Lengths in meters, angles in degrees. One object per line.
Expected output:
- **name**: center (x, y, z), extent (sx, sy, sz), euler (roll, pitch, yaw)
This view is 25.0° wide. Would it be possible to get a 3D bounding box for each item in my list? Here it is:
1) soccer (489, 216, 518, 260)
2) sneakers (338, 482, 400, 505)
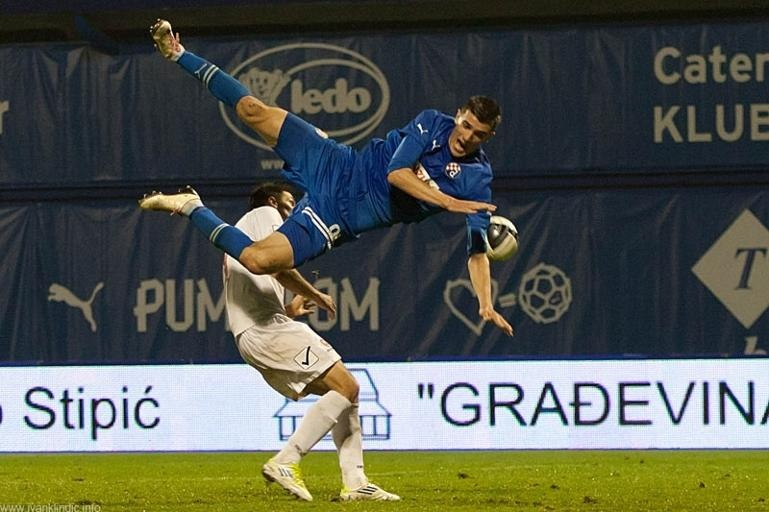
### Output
- **soccer**: center (1.390, -0.187, 19.133), extent (0.374, 0.178, 0.494), euler (-18, -32, 15)
- **sneakers**: center (-0.143, 2.550, 18.808), extent (0.697, 0.250, 0.235), euler (0, -10, 0)
